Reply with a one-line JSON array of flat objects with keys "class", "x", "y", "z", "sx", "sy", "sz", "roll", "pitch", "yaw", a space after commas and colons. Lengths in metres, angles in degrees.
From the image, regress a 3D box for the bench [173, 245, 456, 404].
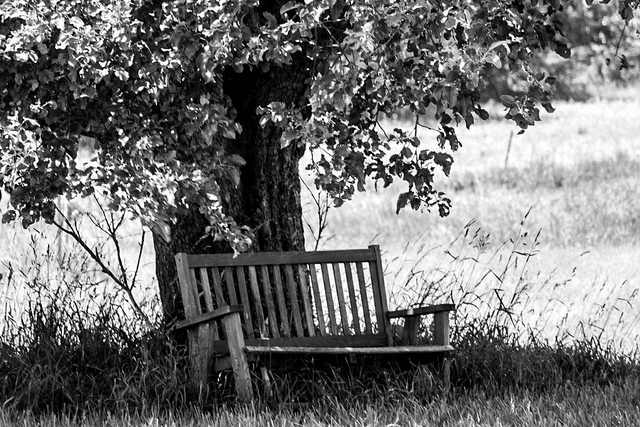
[{"class": "bench", "x": -0.001, "y": 1.152, "z": 10.191, "sx": 2.718, "sy": 1.970, "sz": 1.220, "roll": 2, "pitch": -10, "yaw": -38}]
